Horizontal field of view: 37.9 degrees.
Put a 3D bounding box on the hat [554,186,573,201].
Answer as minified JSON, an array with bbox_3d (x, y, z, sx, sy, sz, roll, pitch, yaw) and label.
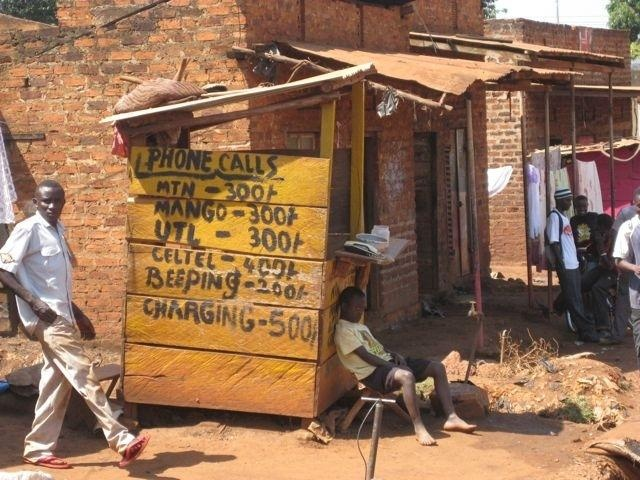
[{"bbox_3d":[3.693,-0.689,13.956,0.228,0.135,0.157,-9,14,28],"label":"hat"}]

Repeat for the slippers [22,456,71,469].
[{"bbox_3d":[-2.801,2.259,9.506,0.409,0.087,0.169,1,2,12],"label":"slippers"}]

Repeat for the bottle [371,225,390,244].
[{"bbox_3d":[0.734,-0.068,10.954,0.262,0.221,0.245,2,6,-1],"label":"bottle"}]

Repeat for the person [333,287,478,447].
[{"bbox_3d":[0.903,1.362,10.516,1.376,1.634,0.756,3,10,30],"label":"person"}]

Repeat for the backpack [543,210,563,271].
[{"bbox_3d":[3.512,0.026,13.821,0.218,0.720,0.490,1,3,-9],"label":"backpack"}]

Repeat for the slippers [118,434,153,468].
[{"bbox_3d":[-1.956,2.150,9.576,0.288,0.350,0.336,-6,9,-23],"label":"slippers"}]

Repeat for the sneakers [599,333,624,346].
[{"bbox_3d":[4.307,1.467,13.688,0.395,0.247,0.145,-3,0,-4],"label":"sneakers"}]

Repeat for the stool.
[{"bbox_3d":[0.639,1.992,10.582,0.755,0.877,0.583,-5,11,4],"label":"stool"}]
